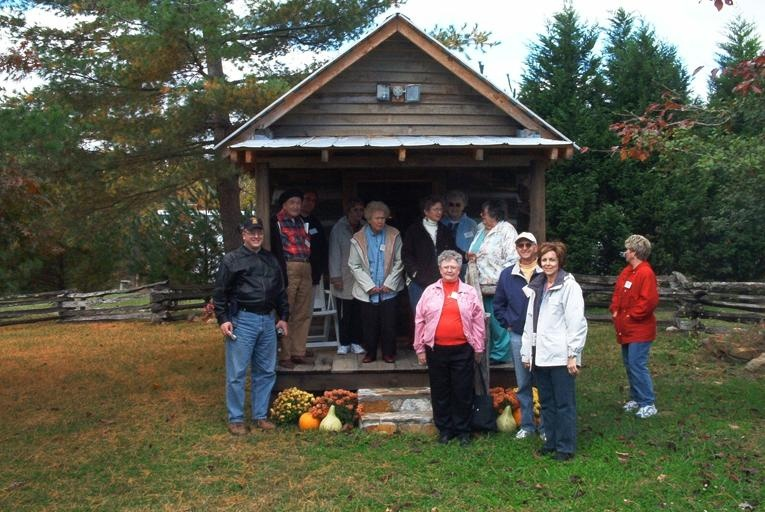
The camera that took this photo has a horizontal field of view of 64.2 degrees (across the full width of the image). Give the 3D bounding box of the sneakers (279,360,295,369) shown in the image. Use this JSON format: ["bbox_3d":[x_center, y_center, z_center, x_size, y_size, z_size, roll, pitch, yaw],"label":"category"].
[{"bbox_3d":[-1.648,1.865,10.482,0.314,0.127,0.109,1,35,17],"label":"sneakers"}]

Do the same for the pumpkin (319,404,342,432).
[{"bbox_3d":[-0.823,2.590,9.735,0.359,0.367,0.305,-7,9,-36],"label":"pumpkin"}]

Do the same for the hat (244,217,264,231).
[{"bbox_3d":[-2.069,-0.500,9.674,0.281,0.192,0.209,-7,9,-34],"label":"hat"}]

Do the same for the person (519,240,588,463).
[{"bbox_3d":[2.410,1.320,8.567,0.870,3.003,0.510,0,8,21],"label":"person"}]

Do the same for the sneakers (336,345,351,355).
[{"bbox_3d":[-0.712,1.733,11.251,0.115,0.139,0.328,-2,-10,8],"label":"sneakers"}]

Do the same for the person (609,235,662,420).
[{"bbox_3d":[4.150,1.276,9.884,0.511,2.519,0.869,-3,7,-6],"label":"person"}]

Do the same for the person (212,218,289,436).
[{"bbox_3d":[-2.097,1.091,9.698,1.112,3.351,0.509,-4,7,-16],"label":"person"}]

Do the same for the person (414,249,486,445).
[{"bbox_3d":[0.998,1.358,9.062,1.010,2.818,0.393,-1,7,7],"label":"person"}]

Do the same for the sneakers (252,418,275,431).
[{"bbox_3d":[-1.911,2.731,9.865,0.165,0.162,0.378,2,-11,-38],"label":"sneakers"}]

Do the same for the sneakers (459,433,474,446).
[{"bbox_3d":[1.294,2.723,9.110,0.290,0.122,0.101,-11,15,-37],"label":"sneakers"}]

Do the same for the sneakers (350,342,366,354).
[{"bbox_3d":[-0.459,1.714,11.265,0.318,0.148,0.109,-3,-2,42],"label":"sneakers"}]

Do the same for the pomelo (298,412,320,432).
[{"bbox_3d":[-1.179,2.661,9.853,0.262,0.270,0.270,-11,0,9],"label":"pomelo"}]

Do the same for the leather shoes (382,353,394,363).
[{"bbox_3d":[0.119,1.772,10.551,0.192,0.147,0.105,-4,7,-11],"label":"leather shoes"}]

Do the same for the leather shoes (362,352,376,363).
[{"bbox_3d":[-0.236,1.744,10.589,0.228,0.173,0.154,-2,7,-3],"label":"leather shoes"}]

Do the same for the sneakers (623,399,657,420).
[{"bbox_3d":[4.190,2.478,9.823,0.551,0.248,0.202,15,-2,-14],"label":"sneakers"}]
